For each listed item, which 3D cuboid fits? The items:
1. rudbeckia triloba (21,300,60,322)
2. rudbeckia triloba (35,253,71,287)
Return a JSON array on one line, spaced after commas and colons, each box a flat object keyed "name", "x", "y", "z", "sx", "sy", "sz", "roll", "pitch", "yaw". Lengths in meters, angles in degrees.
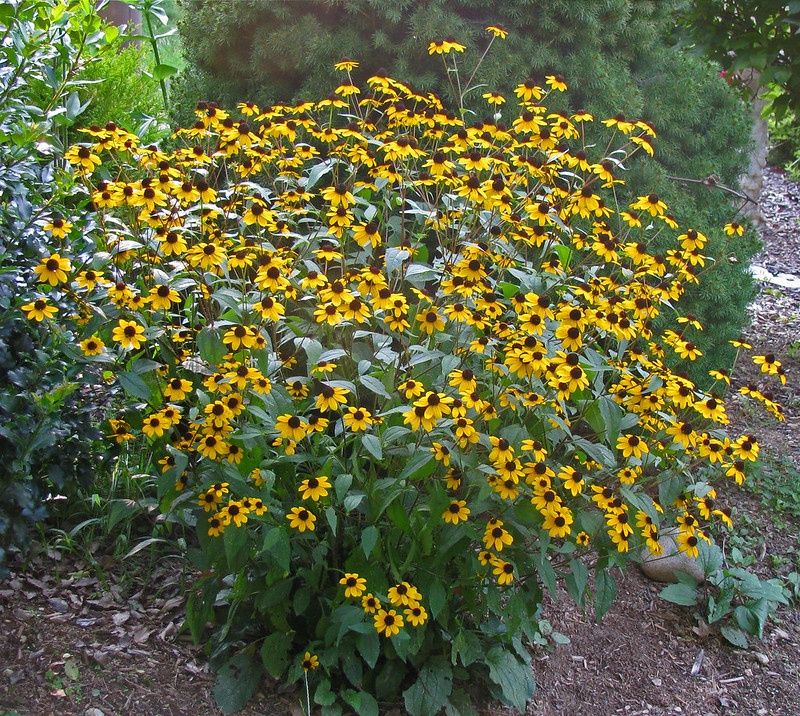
[{"name": "rudbeckia triloba", "x": -1.292, "y": -0.157, "z": 2.614, "sx": 0.101, "sy": 0.030, "sz": 0.102, "roll": 26, "pitch": 52, "yaw": 1}, {"name": "rudbeckia triloba", "x": -1.223, "y": -0.323, "z": 2.613, "sx": 0.116, "sy": 0.043, "sz": 0.117, "roll": 1, "pitch": 75, "yaw": -7}]
